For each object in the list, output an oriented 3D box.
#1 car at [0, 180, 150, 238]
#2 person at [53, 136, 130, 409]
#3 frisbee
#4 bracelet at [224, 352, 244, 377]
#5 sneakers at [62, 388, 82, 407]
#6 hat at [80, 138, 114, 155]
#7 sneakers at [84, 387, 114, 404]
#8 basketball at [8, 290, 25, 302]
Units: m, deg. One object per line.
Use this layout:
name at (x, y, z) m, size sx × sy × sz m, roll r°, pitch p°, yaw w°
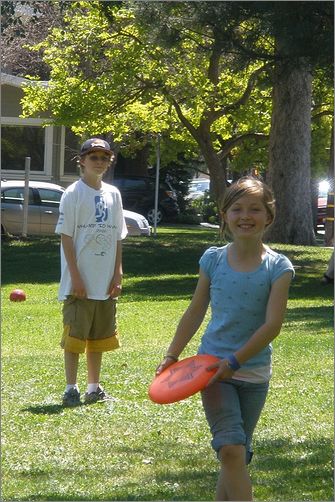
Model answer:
car at (-2.558, -1.115, 18.178) m, size 4.589 × 1.281 × 1.746 m, roll 0°, pitch 2°, yaw -5°
person at (-0.532, 0.133, 4.702) m, size 0.461 × 1.880 × 0.492 m, roll 0°, pitch 4°, yaw -4°
frisbee at (0.044, 0.482, 2.544) m, size 0.218 × 0.162 × 0.345 m, roll -2°, pitch 4°, yaw -34°
bracelet at (0.237, 0.411, 2.427) m, size 0.048 × 0.066 × 0.063 m, roll -25°, pitch 28°, yaw -14°
sneakers at (-0.657, 1.007, 4.627) m, size 0.081 × 0.094 × 0.152 m, roll 2°, pitch -2°, yaw -10°
hat at (-0.517, -0.735, 4.742) m, size 0.150 × 0.097 × 0.195 m, roll 3°, pitch 7°, yaw -15°
sneakers at (-0.500, 1.015, 4.711) m, size 0.251 × 0.123 × 0.083 m, roll -2°, pitch 4°, yaw -13°
basketball at (-2.311, 0.691, 10.363) m, size 0.200 × 0.206 × 0.187 m, roll 19°, pitch 1°, yaw 3°
